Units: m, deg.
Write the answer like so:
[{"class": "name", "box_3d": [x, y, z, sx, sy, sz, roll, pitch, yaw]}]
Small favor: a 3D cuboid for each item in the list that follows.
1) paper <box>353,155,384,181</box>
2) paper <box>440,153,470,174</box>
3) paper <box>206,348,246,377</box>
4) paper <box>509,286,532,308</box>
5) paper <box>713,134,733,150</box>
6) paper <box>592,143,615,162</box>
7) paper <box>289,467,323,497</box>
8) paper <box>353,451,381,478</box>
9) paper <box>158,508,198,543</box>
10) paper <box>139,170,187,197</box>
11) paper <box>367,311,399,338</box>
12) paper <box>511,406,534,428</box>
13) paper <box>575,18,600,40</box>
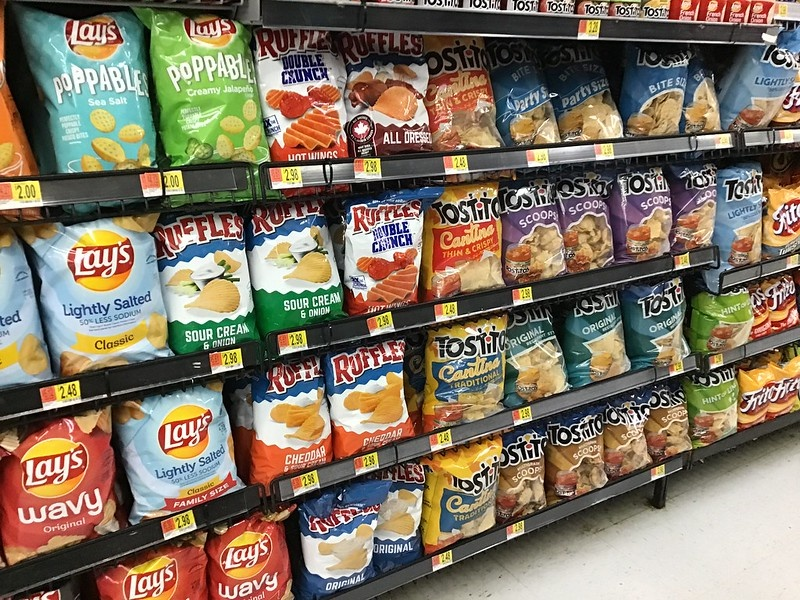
[{"class": "paper", "box_3d": [-0.105, -0.425, 2.015, 0.084, 0.061, 0.005, -2, 2, -31]}, {"class": "paper", "box_3d": [0.182, -0.468, 2.132, 0.074, 0.052, 0.011, -6, 0, -29]}, {"class": "paper", "box_3d": [-0.549, 0.187, 1.930, 0.086, 0.060, 0.012, -9, 11, -33]}, {"class": "paper", "box_3d": [0.451, -0.018, 2.349, 0.078, 0.058, 0.011, -9, 9, -31]}, {"class": "paper", "box_3d": [1.383, -0.680, 2.666, 0.066, 0.047, 0.037, -5, 17, -15]}, {"class": "paper", "box_3d": [0.780, -0.571, 2.392, 0.070, 0.048, 0.009, -8, 9, -24]}, {"class": "paper", "box_3d": [-0.324, 0.605, 2.097, 0.116, 0.083, 0.006, -16, 6, -42]}, {"class": "paper", "box_3d": [-0.123, 0.570, 2.188, 0.114, 0.081, 0.017, -12, 6, -36]}, {"class": "paper", "box_3d": [-0.700, 0.692, 1.934, 0.128, 0.089, 0.017, -10, 3, -37]}, {"class": "paper", "box_3d": [-0.679, -0.331, 1.771, 0.119, 0.074, 0.024, -14, 20, -18]}, {"class": "paper", "box_3d": [-0.063, 0.076, 2.129, 0.085, 0.068, 0.008, -15, 7, -33]}, {"class": "paper", "box_3d": [0.478, 0.455, 2.459, 0.107, 0.073, 0.005, -15, 3, -36]}, {"class": "paper", "box_3d": [0.655, -0.951, 2.182, 0.078, 0.111, 0.015, 0, 20, -19]}]
